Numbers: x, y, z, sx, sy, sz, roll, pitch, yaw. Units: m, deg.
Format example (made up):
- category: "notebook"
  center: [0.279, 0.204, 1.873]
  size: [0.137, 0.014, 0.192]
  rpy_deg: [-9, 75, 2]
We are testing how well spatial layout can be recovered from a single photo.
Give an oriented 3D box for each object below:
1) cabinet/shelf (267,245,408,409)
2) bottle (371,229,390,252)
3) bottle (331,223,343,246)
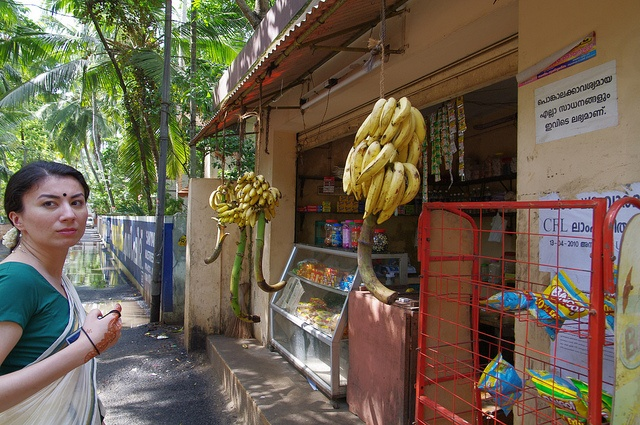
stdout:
- category: "cabinet/shelf"
  center: [0.207, 0.892, 5.920]
  size: [1.215, 2.180, 2.625]
  rpy_deg: [5, -5, -21]
- category: "bottle"
  center: [0.668, 0.317, 5.077]
  size: [0.144, 0.254, 0.300]
  rpy_deg: [1, -3, 6]
- category: "bottle"
  center: [0.217, 0.287, 5.802]
  size: [0.130, 0.277, 0.109]
  rpy_deg: [1, -3, -2]
